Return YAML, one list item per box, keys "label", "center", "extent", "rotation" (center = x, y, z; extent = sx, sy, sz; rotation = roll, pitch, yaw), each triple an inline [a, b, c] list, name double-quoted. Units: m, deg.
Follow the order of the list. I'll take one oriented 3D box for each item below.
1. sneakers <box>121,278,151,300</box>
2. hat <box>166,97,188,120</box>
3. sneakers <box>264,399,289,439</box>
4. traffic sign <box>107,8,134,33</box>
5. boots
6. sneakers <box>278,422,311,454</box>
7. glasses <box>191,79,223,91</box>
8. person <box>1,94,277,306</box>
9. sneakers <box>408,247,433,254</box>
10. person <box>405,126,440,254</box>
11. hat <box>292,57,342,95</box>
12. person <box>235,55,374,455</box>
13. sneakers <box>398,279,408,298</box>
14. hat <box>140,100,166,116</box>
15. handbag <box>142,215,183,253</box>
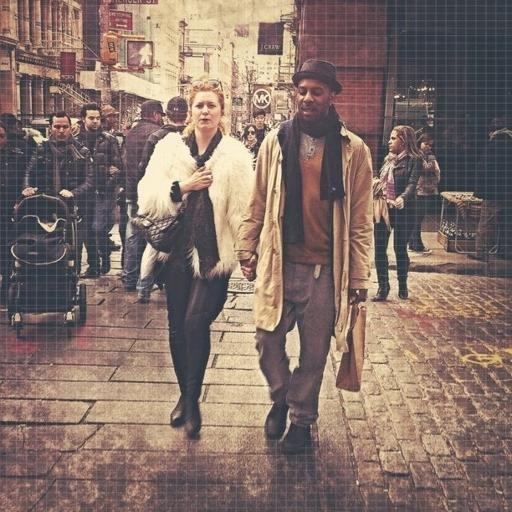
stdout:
- label: "sneakers"
  center: [-1.007, 0.288, 5.514]
  extent: [0.210, 0.263, 0.199]
  rotation: [-5, 3, 3]
- label: "hat"
  center: [-0.634, -1.177, 5.277]
  extent: [0.140, 0.258, 0.218]
  rotation: [3, 4, -5]
- label: "sneakers"
  center: [0.108, 0.968, 3.827]
  extent: [0.077, 0.295, 0.103]
  rotation: [3, -4, 11]
- label: "traffic sign"
  center: [-1.019, -1.774, 4.955]
  extent: [0.196, 0.157, 0.218]
  rotation: [0, 13, -7]
- label: "boots"
  center: [-0.423, 0.690, 3.916]
  extent: [0.259, 0.688, 0.254]
  rotation: [4, 10, 13]
- label: "sneakers"
  center: [0.219, 1.038, 3.754]
  extent: [0.098, 0.217, 0.191]
  rotation: [2, -3, -4]
- label: "glasses"
  center: [-0.297, -1.025, 3.930]
  extent: [0.182, 0.066, 0.098]
  rotation: [1, 13, -7]
- label: "person"
  center: [-0.939, -0.410, 4.930]
  extent: [2.352, 1.116, 1.037]
  rotation: [-3, 16, -7]
- label: "sneakers"
  center: [1.622, -0.039, 6.535]
  extent: [0.237, 0.092, 0.111]
  rotation: [-2, 11, 9]
- label: "person"
  center: [1.564, -0.544, 6.117]
  extent: [0.245, 1.250, 0.905]
  rotation: [4, 11, 14]
- label: "hat"
  center: [0.341, -1.010, 3.697]
  extent: [0.234, 0.151, 0.341]
  rotation: [12, -19, 12]
- label: "person"
  center: [0.266, 0.018, 3.666]
  extent: [0.738, 2.148, 0.369]
  rotation: [1, 10, -2]
- label: "sneakers"
  center: [1.378, 0.309, 6.186]
  extent: [0.102, 0.131, 0.265]
  rotation: [4, 13, 12]
- label: "hat"
  center: [-0.990, -1.384, 6.201]
  extent: [0.130, 0.046, 0.159]
  rotation: [-8, -10, 24]
- label: "handbag"
  center: [-0.553, -0.136, 3.931]
  extent: [0.228, 0.232, 0.109]
  rotation: [-1, 11, -13]
